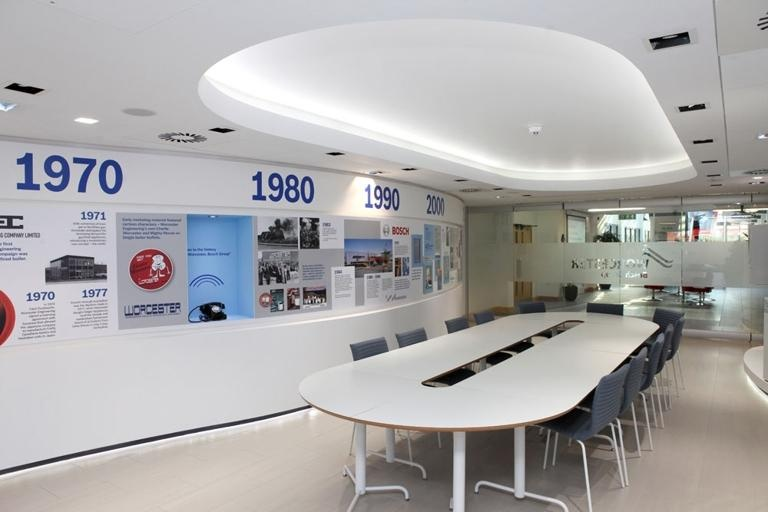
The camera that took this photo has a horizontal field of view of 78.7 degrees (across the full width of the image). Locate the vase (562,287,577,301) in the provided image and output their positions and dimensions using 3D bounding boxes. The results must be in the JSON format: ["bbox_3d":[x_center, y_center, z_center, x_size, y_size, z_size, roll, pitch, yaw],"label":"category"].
[{"bbox_3d":[4.829,0.953,12.333,0.345,0.453,0.348,7,9,37],"label":"vase"}]

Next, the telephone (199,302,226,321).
[{"bbox_3d":[-2.377,0.775,6.526,0.276,0.275,0.212,3,0,-20],"label":"telephone"}]

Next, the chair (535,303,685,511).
[{"bbox_3d":[2.450,1.815,5.464,1.421,2.247,1.514,2,5,41],"label":"chair"}]

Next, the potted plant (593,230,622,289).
[{"bbox_3d":[5.588,0.098,11.839,0.585,1.516,0.204,3,7,26],"label":"potted plant"}]
